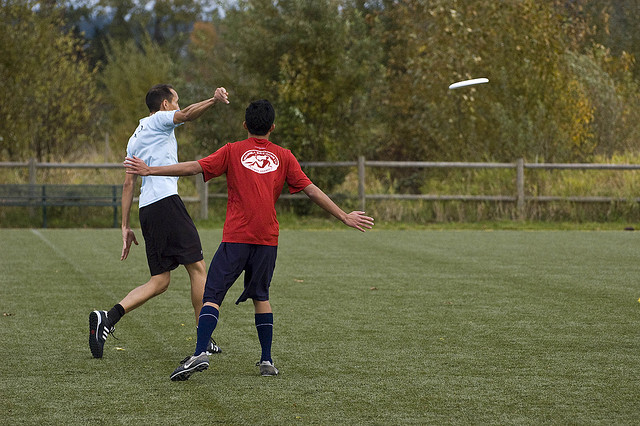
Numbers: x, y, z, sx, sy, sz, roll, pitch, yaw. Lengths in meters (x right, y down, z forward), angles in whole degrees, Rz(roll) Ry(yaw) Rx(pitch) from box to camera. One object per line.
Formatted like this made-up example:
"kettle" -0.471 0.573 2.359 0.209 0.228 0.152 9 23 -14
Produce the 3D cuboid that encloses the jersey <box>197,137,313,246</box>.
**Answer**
"jersey" -1.333 -0.352 27.275 2.632 1.910 0.658 2 1 -4
